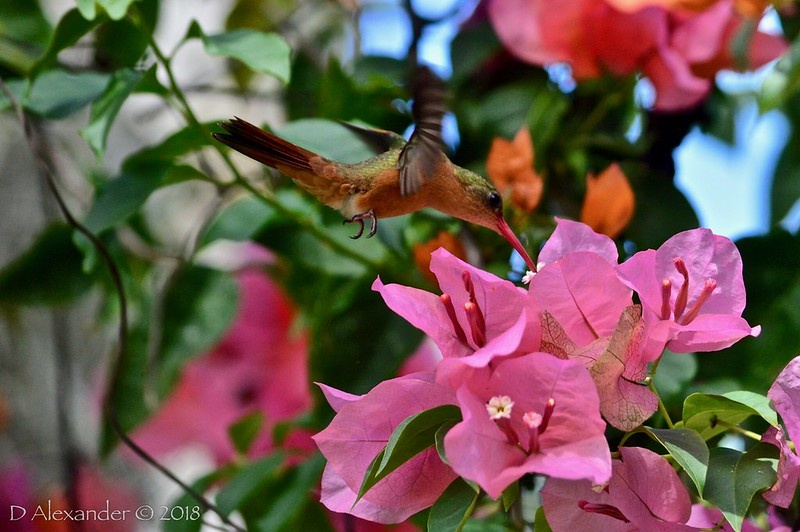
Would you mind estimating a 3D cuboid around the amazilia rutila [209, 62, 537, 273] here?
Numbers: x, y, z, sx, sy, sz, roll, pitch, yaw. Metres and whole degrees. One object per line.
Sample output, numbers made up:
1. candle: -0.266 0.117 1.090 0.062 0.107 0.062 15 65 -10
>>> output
1. amazilia rutila: -0.018 -0.076 0.871 0.222 0.187 0.076 26 76 7
